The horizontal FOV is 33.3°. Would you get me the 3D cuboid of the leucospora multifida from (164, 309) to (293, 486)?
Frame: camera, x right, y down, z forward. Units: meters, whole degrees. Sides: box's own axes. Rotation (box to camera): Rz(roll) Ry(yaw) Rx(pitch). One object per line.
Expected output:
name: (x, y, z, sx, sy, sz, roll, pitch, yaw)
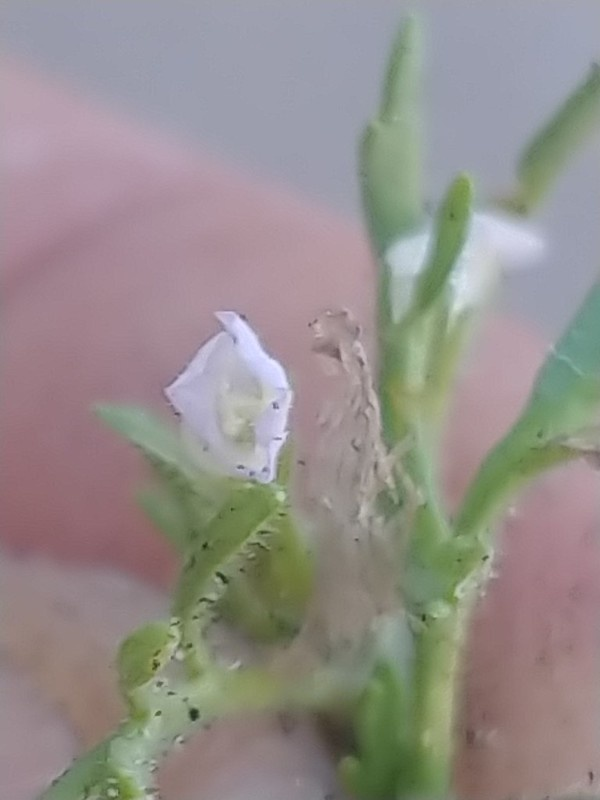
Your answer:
leucospora multifida: (-0.026, -0.003, 0.427, 0.066, 0.066, 0.126, -1, 10, 3)
